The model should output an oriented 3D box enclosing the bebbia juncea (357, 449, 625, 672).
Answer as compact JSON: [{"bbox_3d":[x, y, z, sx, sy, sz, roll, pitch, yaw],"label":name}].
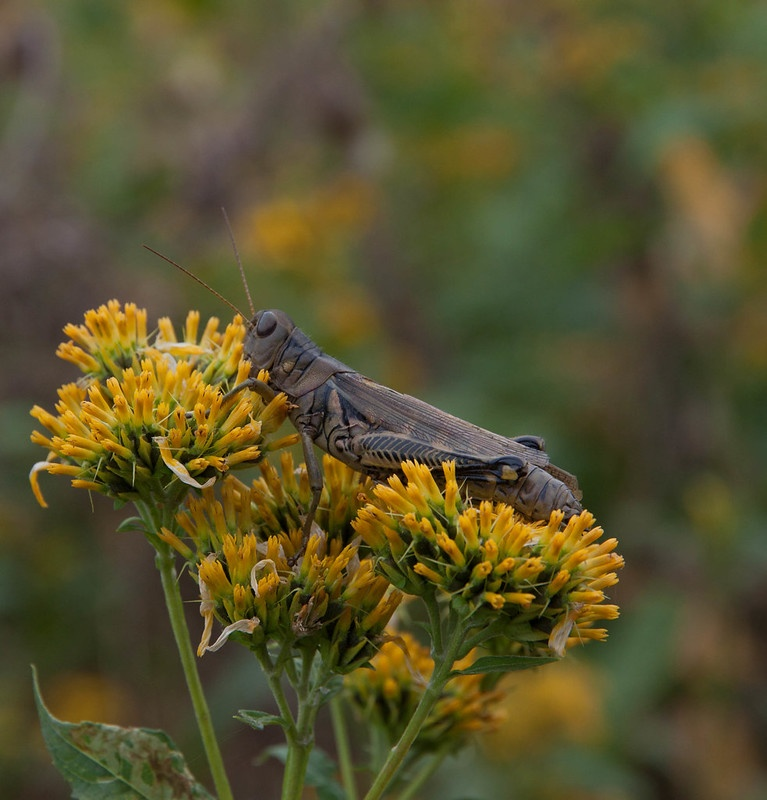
[{"bbox_3d":[0.173,0.284,2.344,0.439,0.309,0.185,4,-27,8],"label":"bebbia juncea"}]

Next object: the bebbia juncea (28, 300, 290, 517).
[{"bbox_3d":[-0.376,0.017,2.530,0.355,0.440,0.394,-1,-3,-37],"label":"bebbia juncea"}]
